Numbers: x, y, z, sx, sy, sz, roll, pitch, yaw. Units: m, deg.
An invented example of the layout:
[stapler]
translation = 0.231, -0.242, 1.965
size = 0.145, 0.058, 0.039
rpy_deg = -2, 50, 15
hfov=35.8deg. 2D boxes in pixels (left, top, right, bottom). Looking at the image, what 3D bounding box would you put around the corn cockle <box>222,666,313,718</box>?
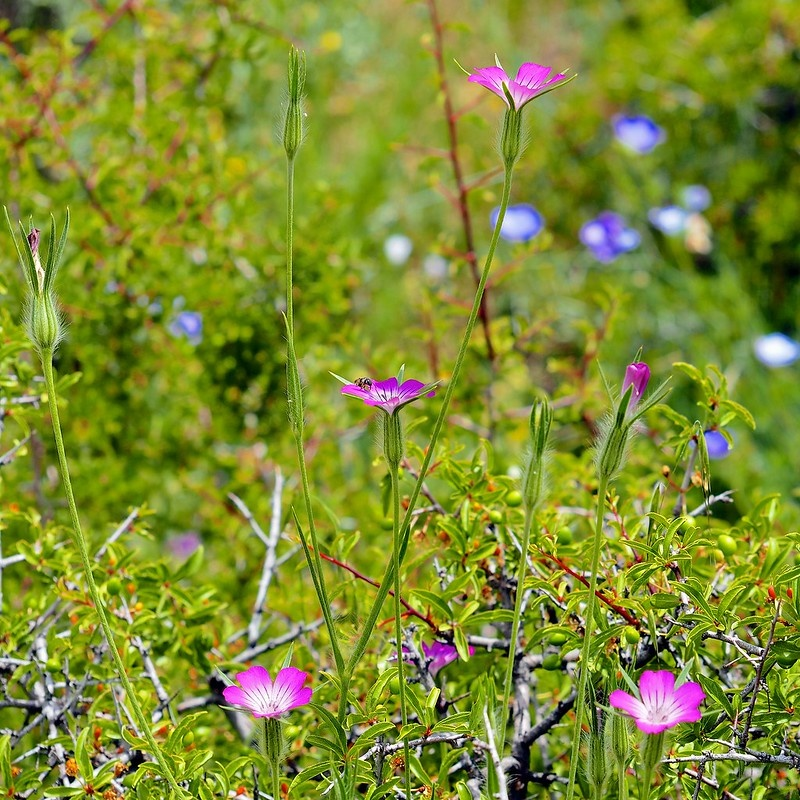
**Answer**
[corn cockle]
translation = -0.151, 0.323, 1.353
size = 0.060, 0.033, 0.070
rpy_deg = 2, 40, 2
